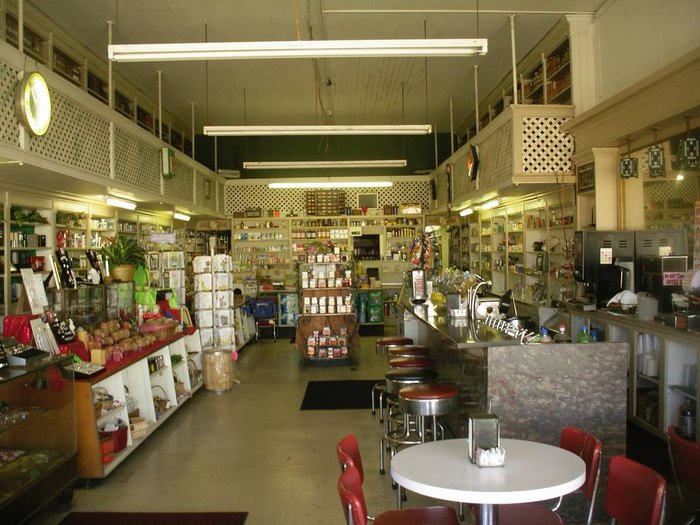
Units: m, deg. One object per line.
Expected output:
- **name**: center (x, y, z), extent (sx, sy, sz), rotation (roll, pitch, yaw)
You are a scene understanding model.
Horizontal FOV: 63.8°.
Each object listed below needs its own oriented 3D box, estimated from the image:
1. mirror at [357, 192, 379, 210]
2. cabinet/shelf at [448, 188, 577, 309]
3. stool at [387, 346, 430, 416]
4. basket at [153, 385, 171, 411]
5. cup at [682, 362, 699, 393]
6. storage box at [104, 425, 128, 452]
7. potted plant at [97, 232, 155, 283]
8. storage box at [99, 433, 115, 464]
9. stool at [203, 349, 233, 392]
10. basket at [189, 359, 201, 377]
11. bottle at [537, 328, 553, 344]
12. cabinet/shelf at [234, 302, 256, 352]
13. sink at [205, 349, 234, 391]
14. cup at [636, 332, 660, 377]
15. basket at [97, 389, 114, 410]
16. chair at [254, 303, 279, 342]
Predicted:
- **mirror**: center (0.465, -1.564, 14.319), extent (0.417, 0.379, 0.033), rotation (0, -1, -1)
- **cabinet/shelf**: center (3.114, -0.246, 10.264), extent (0.879, 1.591, 3.899), rotation (-4, 2, 0)
- **stool**: center (0.680, 1.386, 6.487), extent (0.525, 0.507, 0.553), rotation (-1, 0, -2)
- **basket**: center (-2.529, 1.807, 7.526), extent (0.197, 0.306, 0.136), rotation (-10, 5, 26)
- **cup**: center (3.801, 1.273, 6.246), extent (0.122, 0.216, 0.179), rotation (-4, 1, -2)
- **storage box**: center (-2.642, 1.959, 6.396), extent (0.189, 0.271, 0.360), rotation (-1, 1, -2)
- **potted plant**: center (-3.170, -0.038, 7.777), extent (0.571, 0.724, 0.701), rotation (-1, 4, 1)
- **storage box**: center (-2.646, 2.030, 6.193), extent (0.207, 0.270, 0.251), rotation (0, 4, -13)
- **stool**: center (-1.982, 1.668, 8.856), extent (0.515, 0.617, 0.541), rotation (-1, -2, -4)
- **basket**: center (-2.445, 1.653, 8.836), extent (0.245, 0.257, 0.177), rotation (2, -5, -17)
- **bottle**: center (1.993, 0.788, 5.773), extent (0.176, 0.188, 0.186), rotation (3, 7, 24)
- **cabinet/shelf**: center (-2.213, 1.321, 11.728), extent (0.182, 0.518, 0.951), rotation (-12, 5, 1)
- **sink**: center (-1.966, 1.657, 8.836), extent (0.506, 0.611, 0.530), rotation (0, -2, -7)
- **cup**: center (3.544, 1.095, 6.713), extent (0.231, 0.490, 0.461), rotation (1, 2, 12)
- **basket**: center (-2.790, 1.545, 6.389), extent (0.204, 0.219, 0.160), rotation (0, 0, 19)
- **chair**: center (-1.878, 1.246, 12.425), extent (0.457, 0.865, 0.728), rotation (-4, 1, -5)
